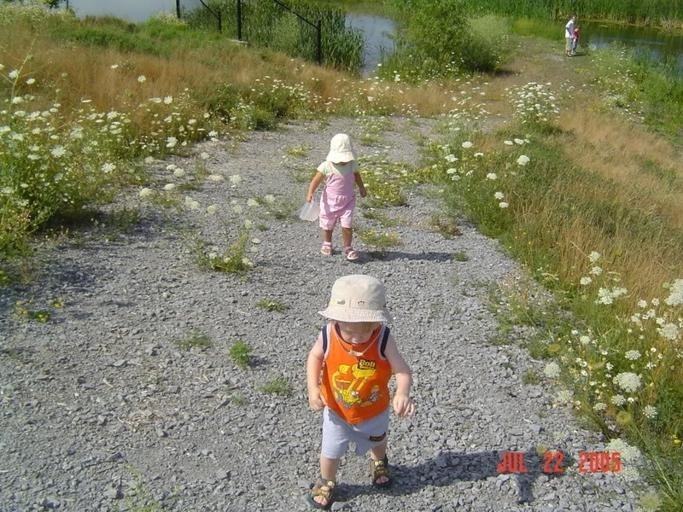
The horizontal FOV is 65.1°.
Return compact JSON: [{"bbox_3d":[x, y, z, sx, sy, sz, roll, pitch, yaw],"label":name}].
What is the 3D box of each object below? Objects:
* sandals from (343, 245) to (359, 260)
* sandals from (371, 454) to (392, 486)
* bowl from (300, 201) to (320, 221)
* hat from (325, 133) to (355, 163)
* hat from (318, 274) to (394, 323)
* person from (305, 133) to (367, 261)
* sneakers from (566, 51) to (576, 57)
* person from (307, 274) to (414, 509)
[{"bbox_3d":[0.120,-0.043,6.784,0.109,0.103,0.209,-8,13,-23],"label":"sandals"},{"bbox_3d":[0.307,1.718,4.344,0.143,0.152,0.338,1,10,-10],"label":"sandals"},{"bbox_3d":[-0.415,-0.605,7.106,0.218,0.363,0.230,5,73,-18],"label":"bowl"},{"bbox_3d":[-0.011,-1.294,6.466,0.285,0.242,0.354,0,23,-7],"label":"hat"},{"bbox_3d":[0.135,0.331,3.972,0.586,0.369,0.703,1,-8,25],"label":"hat"},{"bbox_3d":[-0.075,-0.724,6.590,0.636,1.489,0.509,5,32,5],"label":"person"},{"bbox_3d":[10.714,-9.530,25.068,0.269,0.349,0.147,-2,71,3],"label":"sneakers"},{"bbox_3d":[0.122,1.026,3.995,0.749,1.655,0.706,-1,32,-5],"label":"person"}]
